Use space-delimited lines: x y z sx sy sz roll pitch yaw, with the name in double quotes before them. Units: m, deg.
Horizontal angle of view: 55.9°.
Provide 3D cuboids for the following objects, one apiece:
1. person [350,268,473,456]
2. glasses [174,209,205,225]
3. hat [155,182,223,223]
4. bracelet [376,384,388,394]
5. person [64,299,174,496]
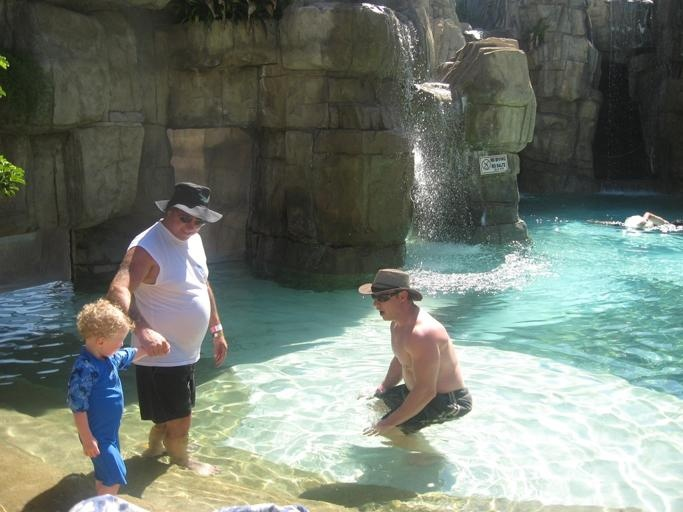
"person" 0.546 0.993 5.342 1.058 1.686 0.946 -3 3 -20
"glasses" -1.084 -0.271 4.626 0.191 0.121 0.072 -2 13 -12
"hat" -1.124 -0.408 4.735 0.406 0.183 0.355 23 2 39
"bracelet" 0.360 1.156 5.629 0.070 0.086 0.090 0 -2 1
"person" -1.556 0.936 4.264 0.438 1.294 0.387 -4 14 -23
